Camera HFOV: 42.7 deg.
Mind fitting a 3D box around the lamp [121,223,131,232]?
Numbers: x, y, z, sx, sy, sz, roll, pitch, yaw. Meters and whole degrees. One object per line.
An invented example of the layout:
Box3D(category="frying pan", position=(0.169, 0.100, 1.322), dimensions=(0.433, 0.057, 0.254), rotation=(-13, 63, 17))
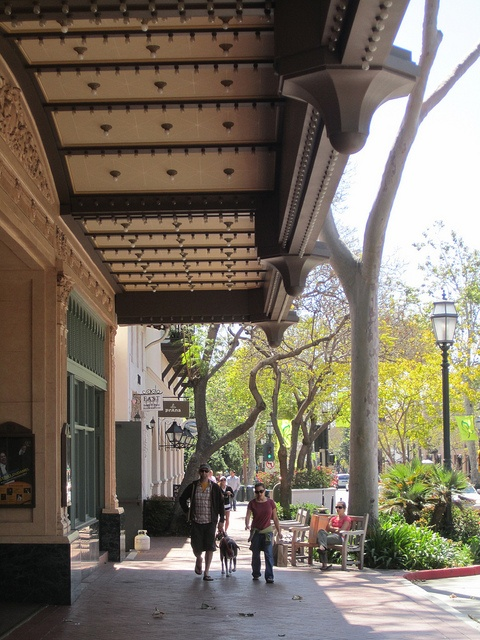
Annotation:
Box3D(category="lamp", position=(-1.640, -1.337, 8.737), dimensions=(0.132, 0.134, 0.137), rotation=(-1, 1, 0))

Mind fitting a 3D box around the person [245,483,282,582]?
Box3D(category="person", position=(0.373, 3.606, 10.526), dimensions=(0.584, 1.622, 1.146), rotation=(0, -11, 2))

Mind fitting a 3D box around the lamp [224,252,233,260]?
Box3D(category="lamp", position=(-0.221, -1.167, 11.043), dimensions=(0.096, 0.112, 0.099), rotation=(-3, -1, 23))

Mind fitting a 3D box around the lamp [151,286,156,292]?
Box3D(category="lamp", position=(-1.946, -0.710, 13.790), dimensions=(0.086, 0.070, 0.087), rotation=(-5, -5, 40))

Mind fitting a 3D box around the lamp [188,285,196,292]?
Box3D(category="lamp", position=(-1.084, -0.713, 13.678), dimensions=(0.093, 0.120, 0.100), rotation=(0, -1, 22))

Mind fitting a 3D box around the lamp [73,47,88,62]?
Box3D(category="lamp", position=(-1.438, -2.404, 5.533), dimensions=(0.126, 0.147, 0.132), rotation=(-1, -46, -10))

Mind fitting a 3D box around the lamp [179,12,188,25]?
Box3D(category="lamp", position=(-0.394, -2.077, 4.217), dimensions=(0.041, 0.141, 0.057), rotation=(1, -42, 2))

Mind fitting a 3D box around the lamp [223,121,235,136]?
Box3D(category="lamp", position=(-0.134, -2.142, 6.803), dimensions=(0.078, 0.092, 0.081), rotation=(-5, 2, -33))

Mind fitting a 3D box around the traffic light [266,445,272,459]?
Box3D(category="traffic light", position=(1.274, 5.832, 27.279), dimensions=(0.279, 0.652, 0.226), rotation=(0, -11, 2))

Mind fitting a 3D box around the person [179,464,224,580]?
Box3D(category="person", position=(-0.659, 3.393, 10.280), dimensions=(0.749, 1.855, 1.026), rotation=(1, -11, -1))

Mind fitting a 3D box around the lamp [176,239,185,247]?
Box3D(category="lamp", position=(-1.017, -1.316, 10.404), dimensions=(0.100, 0.117, 0.039), rotation=(1, 14, 6))

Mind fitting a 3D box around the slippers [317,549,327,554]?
Box3D(category="slippers", position=(1.604, 4.542, 12.057), dimensions=(0.152, 0.038, 0.156), rotation=(-1, -4, 37))

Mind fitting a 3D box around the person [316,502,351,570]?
Box3D(category="person", position=(1.861, 4.276, 12.282), dimensions=(0.633, 1.214, 0.896), rotation=(-2, -12, 15))

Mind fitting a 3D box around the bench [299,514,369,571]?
Box3D(category="bench", position=(1.756, 4.505, 12.527), dimensions=(0.736, 1.106, 1.485), rotation=(16, -21, -37))

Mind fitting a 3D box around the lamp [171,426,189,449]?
Box3D(category="lamp", position=(-2.347, 4.506, 23.710), dimensions=(0.340, 0.580, 1.145), rotation=(1, -7, 16))

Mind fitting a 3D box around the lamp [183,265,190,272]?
Box3D(category="lamp", position=(-1.057, -1.024, 12.036), dimensions=(0.154, 0.177, 0.063), rotation=(3, 15, 9))

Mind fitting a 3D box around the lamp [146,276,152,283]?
Box3D(category="lamp", position=(-1.931, -0.860, 12.992), dimensions=(0.058, 0.103, 0.094), rotation=(4, -12, -5))

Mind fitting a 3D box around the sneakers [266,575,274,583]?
Box3D(category="sneakers", position=(0.472, 4.197, 9.944), dimensions=(0.139, 0.098, 0.049), rotation=(-1, -3, 18))

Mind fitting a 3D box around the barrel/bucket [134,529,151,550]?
Box3D(category="barrel/bucket", position=(-2.380, 5.297, 14.831), dimensions=(0.308, 0.517, 0.757), rotation=(3, -12, -11))

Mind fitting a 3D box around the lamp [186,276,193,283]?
Box3D(category="lamp", position=(-1.069, -0.851, 12.904), dimensions=(0.087, 0.132, 0.090), rotation=(-1, 0, 22))

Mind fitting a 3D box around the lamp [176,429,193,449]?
Box3D(category="lamp", position=(-2.154, 4.686, 24.033), dimensions=(0.674, 1.127, 0.766), rotation=(0, 1, 2))

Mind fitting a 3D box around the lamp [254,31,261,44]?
Box3D(category="lamp", position=(0.142, -2.322, 5.059), dimensions=(0.053, 0.121, 0.058), rotation=(-3, -3, 9))

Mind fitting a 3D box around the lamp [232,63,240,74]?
Box3D(category="lamp", position=(-0.046, -2.294, 5.595), dimensions=(0.050, 0.094, 0.092), rotation=(0, -1, 0))

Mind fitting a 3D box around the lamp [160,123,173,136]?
Box3D(category="lamp", position=(-0.818, -2.114, 6.781), dimensions=(0.122, 0.095, 0.126), rotation=(-2, -2, -3))

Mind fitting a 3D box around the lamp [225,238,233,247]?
Box3D(category="lamp", position=(-0.207, -1.330, 10.419), dimensions=(0.093, 0.101, 0.097), rotation=(0, -12, -1))

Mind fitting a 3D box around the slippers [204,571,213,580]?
Box3D(category="slippers", position=(-0.536, 4.266, 10.238), dimensions=(0.097, 0.109, 0.164), rotation=(7, -19, -20))
